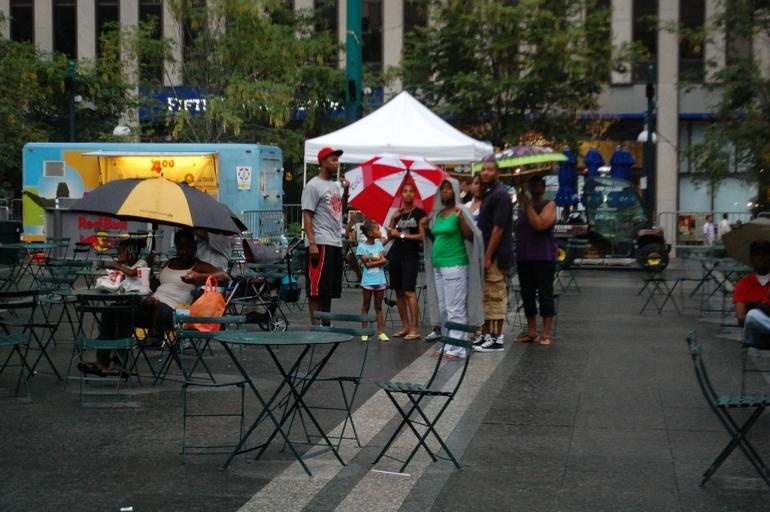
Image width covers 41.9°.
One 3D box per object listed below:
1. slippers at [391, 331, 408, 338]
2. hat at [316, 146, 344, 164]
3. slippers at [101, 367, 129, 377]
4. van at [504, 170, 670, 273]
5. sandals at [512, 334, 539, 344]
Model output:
[{"bbox_3d":[0.246,1.341,17.162,0.211,0.078,0.113,4,-4,-2],"label":"slippers"},{"bbox_3d":[-0.926,-1.642,16.092,0.505,0.234,0.331,-15,1,4],"label":"hat"},{"bbox_3d":[-3.892,1.662,14.384,0.388,0.135,0.213,6,-10,-22],"label":"slippers"},{"bbox_3d":[5.601,-0.925,27.277,4.594,2.616,2.430,-1,5,0],"label":"van"},{"bbox_3d":[2.349,1.369,16.807,0.436,0.149,0.152,3,2,6],"label":"sandals"}]
